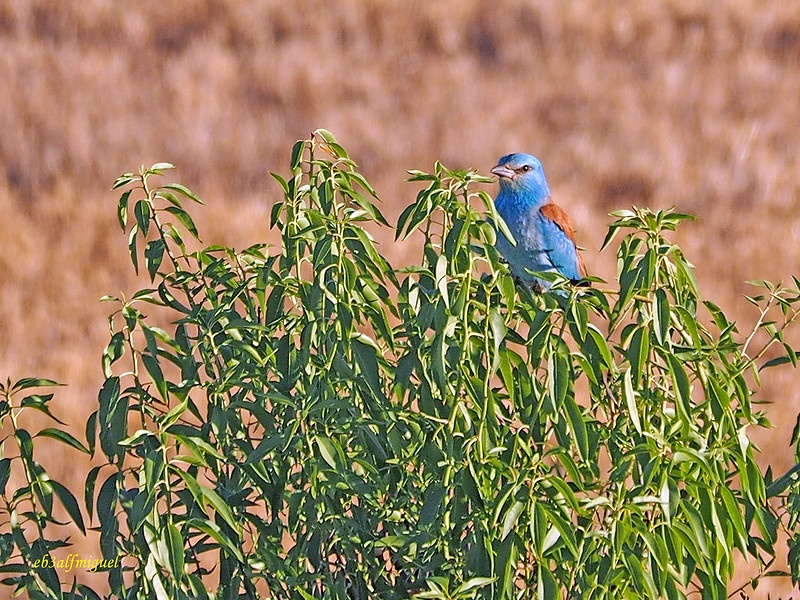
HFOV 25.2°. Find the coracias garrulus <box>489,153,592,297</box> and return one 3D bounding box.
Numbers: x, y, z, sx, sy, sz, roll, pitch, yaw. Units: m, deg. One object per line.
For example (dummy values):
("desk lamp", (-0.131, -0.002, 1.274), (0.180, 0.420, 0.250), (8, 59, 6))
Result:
("coracias garrulus", (0.338, -0.147, 4.208), (0.322, 0.373, 0.194), (8, -7, -41))
